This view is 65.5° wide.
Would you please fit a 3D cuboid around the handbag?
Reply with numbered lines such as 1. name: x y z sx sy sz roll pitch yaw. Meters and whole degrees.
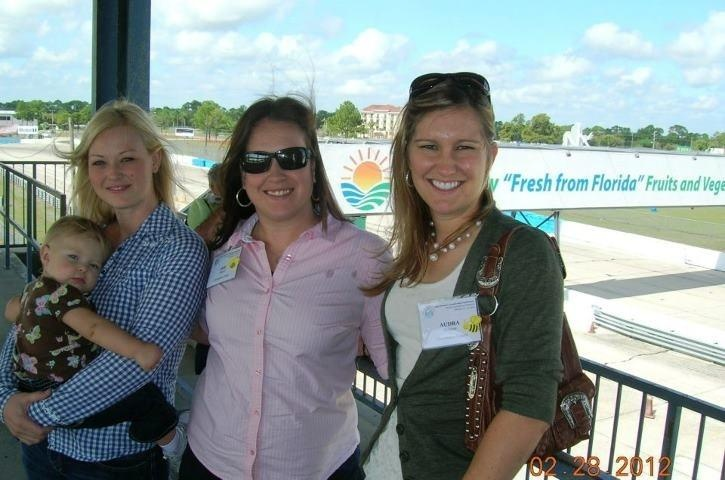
1. handbag: 0.808 0.509 2.672 0.609 1.119 0.260 2 8 8

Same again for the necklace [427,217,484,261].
1. necklace: 0.476 -0.004 2.934 0.062 0.244 0.197 46 4 -15
